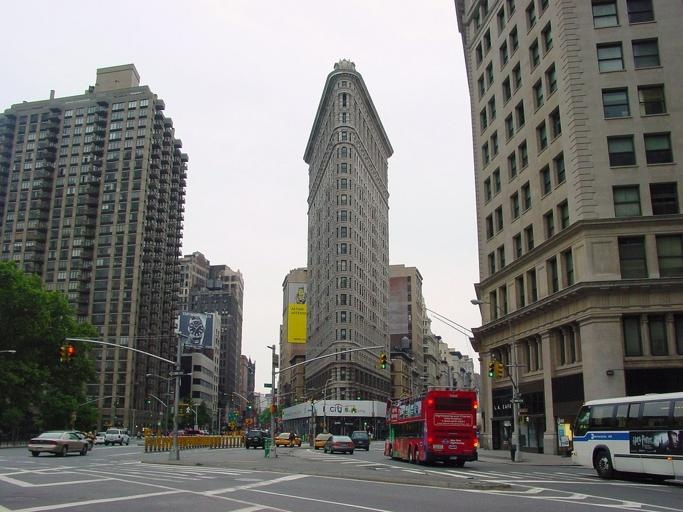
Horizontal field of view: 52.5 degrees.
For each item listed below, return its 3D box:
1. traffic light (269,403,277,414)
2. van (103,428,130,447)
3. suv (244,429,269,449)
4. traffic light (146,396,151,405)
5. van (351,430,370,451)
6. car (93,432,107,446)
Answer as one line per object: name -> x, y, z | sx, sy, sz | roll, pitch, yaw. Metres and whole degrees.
traffic light -> -5.211, 11.635, 52.952 | 0.298, 0.902, 1.184 | 5, -20, -11
van -> -27.620, 22.493, 85.687 | 1.948, 1.639, 3.564 | 0, -9, -5
suv -> -9.781, 20.875, 79.149 | 2.306, 2.299, 4.994 | 4, -20, -7
traffic light -> -42.259, 31.699, 151.645 | 0.941, 1.863, 0.975 | -1, -3, 26
van -> 2.071, 19.160, 71.903 | 1.556, 1.513, 2.952 | 0, -8, 1
car -> -29.582, 22.405, 84.970 | 1.185, 1.445, 2.816 | 8, -21, -17
